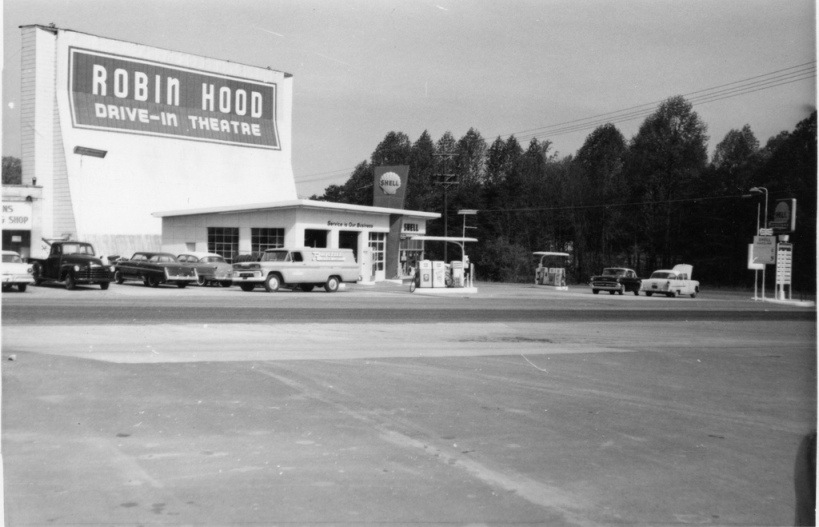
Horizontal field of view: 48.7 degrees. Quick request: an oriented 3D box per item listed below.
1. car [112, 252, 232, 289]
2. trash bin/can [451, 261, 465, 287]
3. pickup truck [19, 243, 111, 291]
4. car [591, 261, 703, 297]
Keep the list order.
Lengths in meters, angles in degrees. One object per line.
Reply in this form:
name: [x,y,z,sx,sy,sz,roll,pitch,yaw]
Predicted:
car: [-12.190,0.309,43.743,2.491,1.173,3.962,1,3,-45]
trash bin/can: [2.587,0.546,48.548,0.745,1.259,1.060,2,12,3]
pickup truck: [-15.241,0.080,40.096,4.944,1.986,2.138,4,3,42]
car: [13.766,0.958,52.224,5.637,2.278,2.815,5,13,16]
